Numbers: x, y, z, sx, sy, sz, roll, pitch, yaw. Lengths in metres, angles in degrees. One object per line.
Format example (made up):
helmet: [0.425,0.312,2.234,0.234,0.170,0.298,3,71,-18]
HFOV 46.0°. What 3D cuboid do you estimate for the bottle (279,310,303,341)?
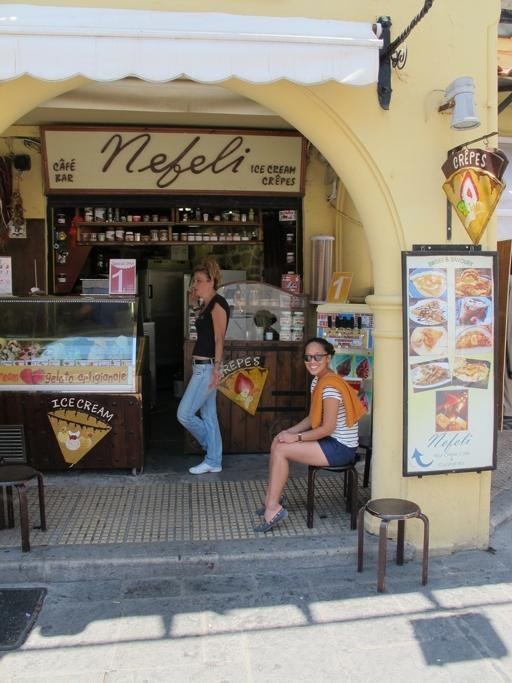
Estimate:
bottle: [0.322,-0.169,6.014,0.290,0.280,0.270,2,11,4]

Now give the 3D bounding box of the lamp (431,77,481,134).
lamp: [1.173,-1.357,3.484,0.164,0.243,0.258,-6,4,-7]

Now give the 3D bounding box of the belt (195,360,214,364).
belt: [-0.456,0.186,5.223,0.153,0.045,0.052,0,7,-14]

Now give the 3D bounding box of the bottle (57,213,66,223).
bottle: [-2.281,-1.429,7.050,0.098,0.102,0.096,2,0,-12]

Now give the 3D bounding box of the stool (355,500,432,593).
stool: [0.793,1.168,3.513,0.410,0.417,0.404,2,3,40]

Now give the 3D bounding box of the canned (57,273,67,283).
canned: [-2.311,-0.746,7.145,0.100,0.108,0.099,1,1,-25]

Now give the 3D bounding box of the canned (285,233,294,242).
canned: [0.404,-1.235,7.258,0.103,0.112,0.043,3,7,14]

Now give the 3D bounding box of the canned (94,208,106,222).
canned: [-1.891,-1.534,7.367,0.110,0.171,0.227,4,7,19]

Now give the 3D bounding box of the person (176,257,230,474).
person: [-0.474,0.227,5.361,0.388,1.851,0.442,2,6,5]

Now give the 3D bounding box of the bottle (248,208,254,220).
bottle: [-0.062,-1.543,7.433,0.082,0.157,0.166,1,7,-2]

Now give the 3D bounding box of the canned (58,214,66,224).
canned: [-2.284,-1.417,7.055,0.102,0.107,0.100,2,-2,-18]

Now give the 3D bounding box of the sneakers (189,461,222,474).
sneakers: [-0.452,1.127,5.365,0.284,0.115,0.103,2,-1,-19]

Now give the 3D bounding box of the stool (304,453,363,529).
stool: [0.587,1.061,4.336,0.492,0.559,0.453,0,-6,-2]

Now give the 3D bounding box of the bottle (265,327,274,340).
bottle: [0.123,-0.060,5.874,0.095,0.166,0.093,0,-1,0]

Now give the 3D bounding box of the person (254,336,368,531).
person: [0.377,0.631,4.156,0.699,1.295,0.480,2,6,3]

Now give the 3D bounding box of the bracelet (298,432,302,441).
bracelet: [0.290,0.644,4.015,0.024,0.058,0.047,1,7,1]

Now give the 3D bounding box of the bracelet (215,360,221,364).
bracelet: [-0.338,0.185,5.210,0.043,0.041,0.025,6,-4,-33]

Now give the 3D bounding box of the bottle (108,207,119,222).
bottle: [-1.777,-1.570,7.511,0.163,0.172,0.221,0,7,-12]
